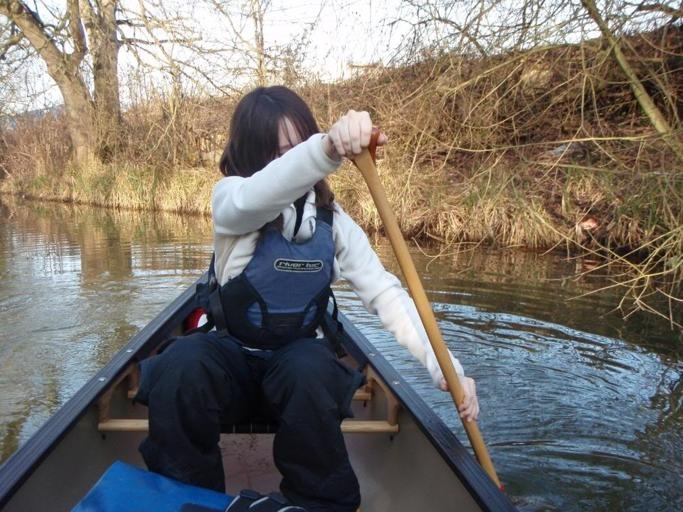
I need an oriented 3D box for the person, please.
[{"bbox_3d":[-0.238,0.130,2.130,1.075,1.649,0.639,-5,6,-28],"label":"person"}]
